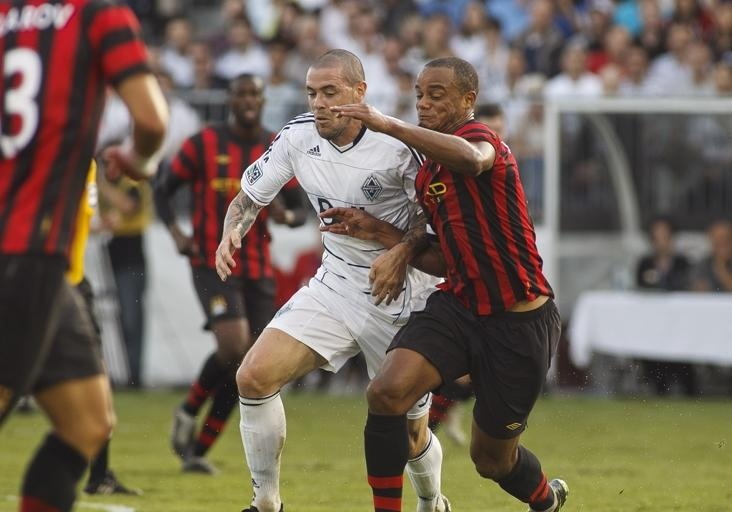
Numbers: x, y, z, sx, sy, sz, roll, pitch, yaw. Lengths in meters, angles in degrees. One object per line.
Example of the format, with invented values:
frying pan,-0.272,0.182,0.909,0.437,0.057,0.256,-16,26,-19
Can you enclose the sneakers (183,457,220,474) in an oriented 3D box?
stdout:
sneakers,-1.226,1.535,8.607,0.297,0.146,0.106,-1,-1,5

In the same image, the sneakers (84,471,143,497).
sneakers,-1.674,1.500,7.745,0.357,0.171,0.149,-1,6,-24

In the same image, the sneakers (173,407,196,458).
sneakers,-1.362,1.337,8.813,0.185,0.337,0.295,5,-25,-8
